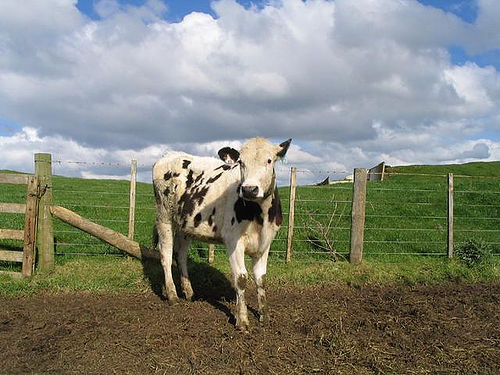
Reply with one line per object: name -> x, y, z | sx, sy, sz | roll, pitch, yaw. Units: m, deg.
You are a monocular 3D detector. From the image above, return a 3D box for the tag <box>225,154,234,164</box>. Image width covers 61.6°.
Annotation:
tag -> -0.436, -0.606, 8.729 | 0.180, 0.263, 0.448 | 0, 15, -4
